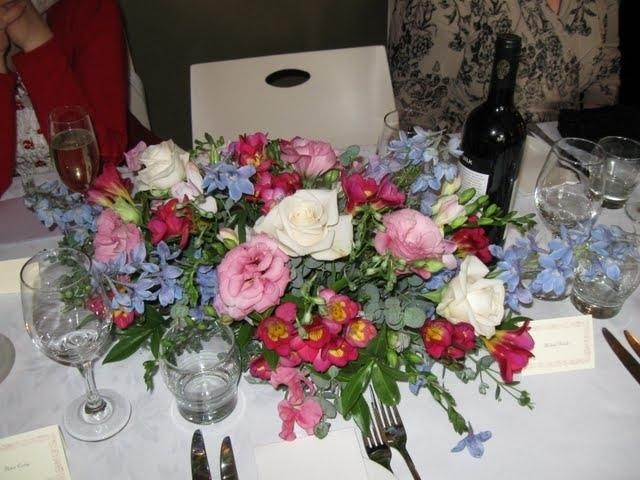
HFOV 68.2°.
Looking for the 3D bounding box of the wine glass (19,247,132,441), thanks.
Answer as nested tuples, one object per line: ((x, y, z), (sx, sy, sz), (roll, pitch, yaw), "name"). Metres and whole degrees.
((-0.454, 0.191, 0.916), (0.138, 0.366, 0.134), (-12, 27, -32), "wine glass")

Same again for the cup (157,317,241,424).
((-0.190, 0.241, 0.929), (0.157, 0.196, 0.185), (2, 55, -3), "cup")

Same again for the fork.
((0.120, 0.358, 0.917), (0.045, 0.037, 0.276), (-19, 58, -6), "fork")

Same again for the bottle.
((0.404, -0.226, 1.131), (0.139, 0.598, 0.151), (-5, 54, 7), "bottle")

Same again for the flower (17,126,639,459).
((-0.003, 0.058, 0.869), (0.884, 0.428, 0.678), (1, 67, -2), "flower")
